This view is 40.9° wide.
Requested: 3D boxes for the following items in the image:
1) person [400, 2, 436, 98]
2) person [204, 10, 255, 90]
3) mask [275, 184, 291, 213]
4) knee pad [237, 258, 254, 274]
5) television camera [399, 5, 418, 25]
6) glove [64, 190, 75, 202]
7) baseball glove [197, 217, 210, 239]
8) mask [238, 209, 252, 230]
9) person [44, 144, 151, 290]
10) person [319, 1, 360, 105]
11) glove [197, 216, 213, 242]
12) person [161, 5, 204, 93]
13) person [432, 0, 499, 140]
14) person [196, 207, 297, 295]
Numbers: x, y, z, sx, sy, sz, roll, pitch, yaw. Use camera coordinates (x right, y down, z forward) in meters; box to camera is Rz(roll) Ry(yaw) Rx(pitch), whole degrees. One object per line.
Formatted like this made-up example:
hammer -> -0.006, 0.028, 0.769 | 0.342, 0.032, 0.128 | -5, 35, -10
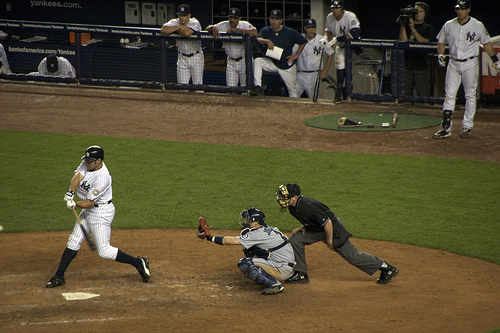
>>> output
person -> 4.471, -3.129, 18.082 | 0.888, 2.516, 0.998 | 5, 12, 24
person -> -0.486, -3.371, 19.366 | 1.252, 2.286, 0.658 | -1, 11, -3
mask -> 0.543, 0.525, 10.860 | 0.228, 0.463, 0.338 | 0, 11, 2
knee pad -> -0.071, 1.589, 10.788 | 0.195, 0.211, 0.255 | -23, 16, 30
television camera -> 4.113, -4.063, 17.641 | 0.558, 0.526, 0.477 | 0, 48, 3
glove -> -2.849, 0.472, 10.695 | 0.137, 0.163, 0.068 | 23, -14, 27
baseball glove -> -0.730, 0.958, 10.853 | 0.174, 0.406, 0.187 | 7, -25, 6
mask -> -0.092, 0.883, 10.903 | 0.195, 0.335, 0.320 | -2, 11, -12
person -> -2.499, 0.801, 10.796 | 1.600, 2.249, 0.482 | -2, 12, -9
person -> 2.538, -3.160, 18.752 | 1.080, 2.841, 0.776 | 5, 12, 22
glove -> -0.765, 1.017, 10.875 | 0.231, 0.524, 0.260 | -3, -7, -11
person -> -1.902, -3.440, 19.555 | 1.094, 2.495, 0.803 | -1, 11, -4
person -> 5.191, -2.292, 16.087 | 1.242, 3.275, 1.389 | 6, 13, 27
person -> 0.035, 1.352, 11.181 | 1.844, 1.200, 1.089 | -7, 12, 5
